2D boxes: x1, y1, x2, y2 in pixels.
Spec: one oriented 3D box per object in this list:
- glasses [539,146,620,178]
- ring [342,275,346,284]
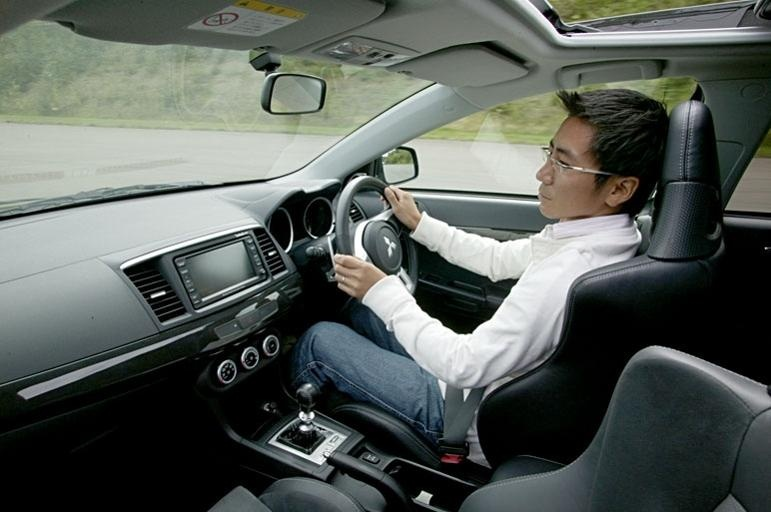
[{"bbox_3d":[0.718,-0.358,1.839,0.192,0.045,0.171,8,21,2],"label":"glasses"},{"bbox_3d":[-0.174,0.099,2.102,0.017,0.007,0.020,4,49,-7],"label":"ring"}]
